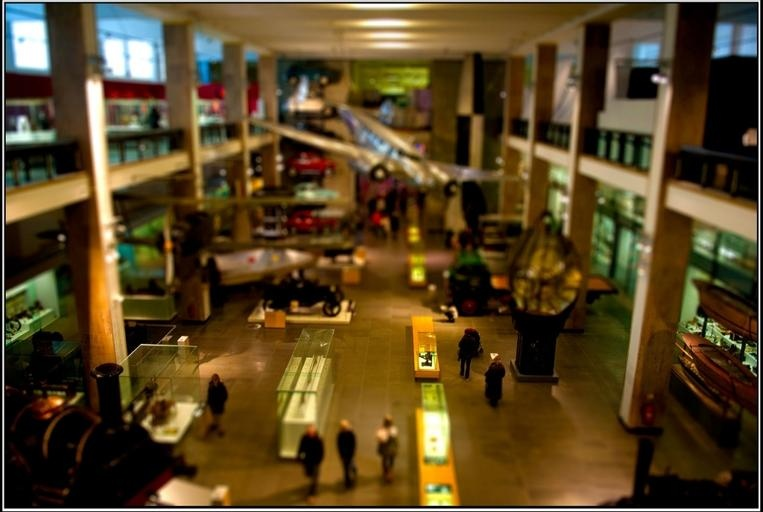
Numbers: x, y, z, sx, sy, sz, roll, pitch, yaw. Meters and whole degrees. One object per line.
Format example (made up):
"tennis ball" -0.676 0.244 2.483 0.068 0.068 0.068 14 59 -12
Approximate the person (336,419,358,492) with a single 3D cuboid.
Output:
"person" -0.642 3.518 10.066 0.374 1.232 1.059 -3 16 -3

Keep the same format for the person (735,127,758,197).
"person" 6.469 -1.653 9.392 0.292 1.150 1.446 8 18 31

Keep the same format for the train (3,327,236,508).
"train" -5.223 2.946 10.281 2.730 1.513 2.560 3 11 -5

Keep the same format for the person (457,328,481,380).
"person" 2.128 2.309 13.065 0.392 1.029 1.008 3 16 15

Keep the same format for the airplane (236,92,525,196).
"airplane" 1.070 -2.535 13.178 5.844 1.366 5.797 -12 35 -40

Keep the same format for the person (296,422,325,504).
"person" -1.259 3.704 9.766 0.423 1.129 0.689 -5 16 -11

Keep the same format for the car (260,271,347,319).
"car" -2.236 1.121 15.642 2.007 0.833 1.104 0 9 2

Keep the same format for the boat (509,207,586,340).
"boat" 3.554 0.270 11.675 1.737 2.404 1.607 7 12 25

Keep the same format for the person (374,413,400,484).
"person" 0.122 3.483 10.239 0.453 1.116 1.123 -2 15 0
